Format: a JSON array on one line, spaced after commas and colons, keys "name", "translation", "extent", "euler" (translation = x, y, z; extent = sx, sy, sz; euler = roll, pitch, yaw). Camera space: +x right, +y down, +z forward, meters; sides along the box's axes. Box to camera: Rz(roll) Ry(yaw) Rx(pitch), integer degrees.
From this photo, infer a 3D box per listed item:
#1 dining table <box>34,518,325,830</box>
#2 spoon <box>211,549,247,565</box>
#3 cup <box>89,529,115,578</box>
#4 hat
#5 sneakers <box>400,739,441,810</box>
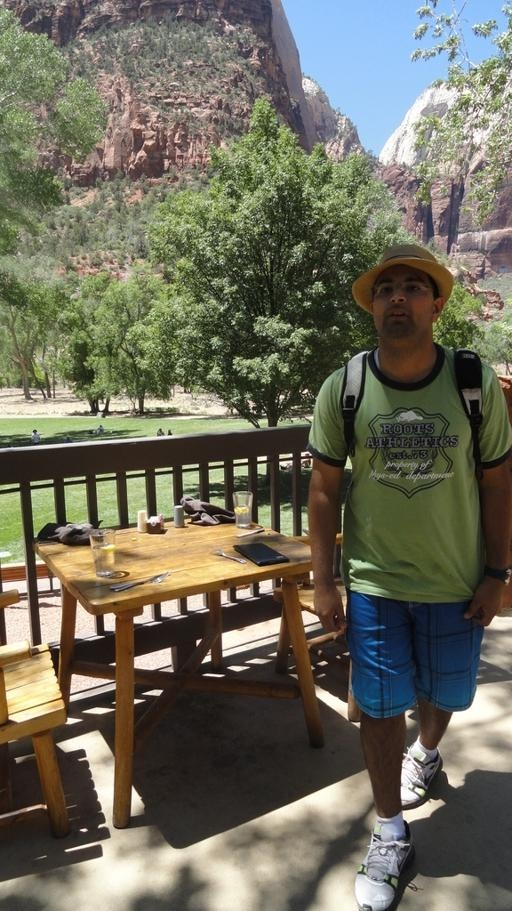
[{"name": "dining table", "translation": [-0.258, 0.516, 2.499], "extent": [0.899, 0.844, 1.042], "euler": [-6, 10, -26]}, {"name": "spoon", "translation": [-0.100, 0.367, 2.371], "extent": [0.039, 0.029, 0.245], "euler": [-17, 8, -20]}, {"name": "cup", "translation": [-0.529, 0.323, 2.197], "extent": [0.119, 0.153, 0.072], "euler": [2, 6, 34]}, {"name": "hat", "translation": [0.410, -0.479, 1.790], "extent": [0.216, 0.105, 0.264], "euler": [-3, -28, 25]}, {"name": "sneakers", "translation": [0.599, 1.073, 2.259], "extent": [0.110, 0.142, 0.301], "euler": [1, 1, 30]}]
